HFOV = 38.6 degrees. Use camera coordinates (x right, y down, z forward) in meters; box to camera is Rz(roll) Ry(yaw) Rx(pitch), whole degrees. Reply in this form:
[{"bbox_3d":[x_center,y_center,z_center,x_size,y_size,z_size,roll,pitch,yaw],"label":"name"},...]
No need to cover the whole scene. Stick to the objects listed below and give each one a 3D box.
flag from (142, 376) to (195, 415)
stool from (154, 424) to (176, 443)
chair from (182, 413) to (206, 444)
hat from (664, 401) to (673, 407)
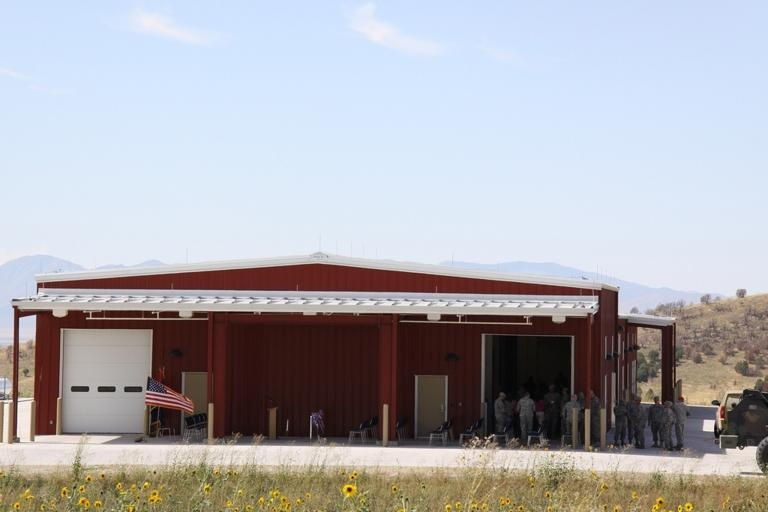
[{"bbox_3d":[-7.715,4.933,38.863,1.804,1.230,0.143,14,-43,-11],"label":"flag"},{"bbox_3d":[-8.045,6.364,40.000,0.547,0.571,0.657,-1,-1,13],"label":"stool"},{"bbox_3d":[-6.834,6.209,39.553,0.480,0.753,1.271,-2,-2,19],"label":"chair"},{"bbox_3d":[9.727,5.074,37.748,0.262,0.229,0.349,-5,-13,17],"label":"hat"}]
